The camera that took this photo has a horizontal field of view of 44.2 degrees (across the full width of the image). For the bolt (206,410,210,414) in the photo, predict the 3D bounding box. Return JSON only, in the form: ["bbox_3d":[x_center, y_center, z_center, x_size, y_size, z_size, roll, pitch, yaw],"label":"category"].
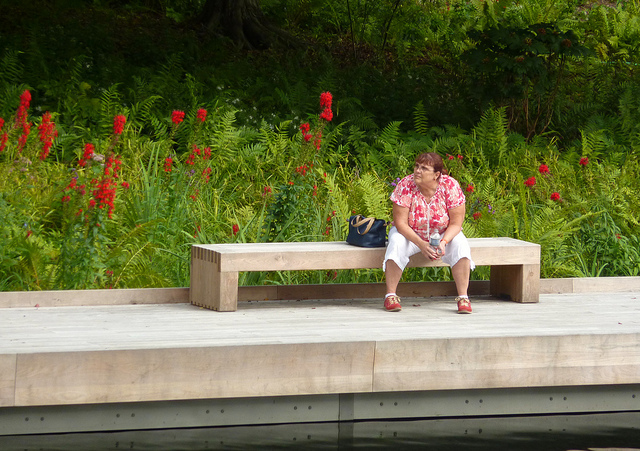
[{"bbox_3d":[-0.862,1.539,6.518,0.030,0.032,0.007,0,4,-4],"label":"bolt"}]

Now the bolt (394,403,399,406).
[{"bbox_3d":[0.680,1.527,6.748,0.026,0.027,0.006,3,2,-3],"label":"bolt"}]

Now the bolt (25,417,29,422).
[{"bbox_3d":[-2.233,1.546,6.287,0.016,0.027,0.016,-1,3,2],"label":"bolt"}]

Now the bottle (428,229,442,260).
[{"bbox_3d":[1.182,0.212,7.967,0.121,0.250,0.169,1,21,9],"label":"bottle"}]

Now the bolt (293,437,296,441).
[{"bbox_3d":[-0.165,1.775,6.573,0.023,0.016,0.017,-13,24,-26],"label":"bolt"}]

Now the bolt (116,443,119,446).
[{"bbox_3d":[-1.553,1.768,6.375,0.020,0.017,0.013,-8,22,-14],"label":"bolt"}]

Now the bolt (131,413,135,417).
[{"bbox_3d":[-1.445,1.542,6.422,0.022,0.026,0.009,-10,22,-19],"label":"bolt"}]

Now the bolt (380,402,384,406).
[{"bbox_3d":[0.560,1.524,6.739,0.032,0.031,0.011,-2,21,0],"label":"bolt"}]

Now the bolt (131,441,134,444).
[{"bbox_3d":[-1.442,1.759,6.392,0.016,0.015,0.004,-1,-7,-16],"label":"bolt"}]

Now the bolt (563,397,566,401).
[{"bbox_3d":[2.146,1.524,6.953,0.026,0.027,0.011,-9,22,-16],"label":"bolt"}]

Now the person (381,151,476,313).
[{"bbox_3d":[1.085,0.056,7.929,0.903,1.414,1.402,-1,12,-5],"label":"person"}]

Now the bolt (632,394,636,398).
[{"bbox_3d":[2.766,1.519,7.022,0.025,0.027,0.006,-4,-12,3],"label":"bolt"}]

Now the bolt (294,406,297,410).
[{"bbox_3d":[-0.155,1.531,6.621,0.021,0.026,0.011,-3,21,-3],"label":"bolt"}]

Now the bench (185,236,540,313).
[{"bbox_3d":[0.435,0.528,8.143,3.482,0.920,0.679,-5,21,-8],"label":"bench"}]

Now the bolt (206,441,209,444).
[{"bbox_3d":[-0.862,1.782,6.466,0.018,0.013,0.010,2,2,-1],"label":"bolt"}]

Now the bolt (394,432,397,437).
[{"bbox_3d":[0.671,1.770,6.694,0.025,0.022,0.031,-3,21,-3],"label":"bolt"}]

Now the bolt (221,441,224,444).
[{"bbox_3d":[-0.738,1.780,6.480,0.021,0.010,0.016,-5,21,-7],"label":"bolt"}]

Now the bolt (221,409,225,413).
[{"bbox_3d":[-0.741,1.533,6.529,0.025,0.030,0.013,-1,21,4],"label":"bolt"}]

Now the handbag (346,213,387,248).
[{"bbox_3d":[0.513,0.069,8.272,0.263,0.331,0.491,1,8,-43],"label":"handbag"}]

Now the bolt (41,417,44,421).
[{"bbox_3d":[-2.126,1.546,6.307,0.027,0.027,0.006,-8,1,-23],"label":"bolt"}]
